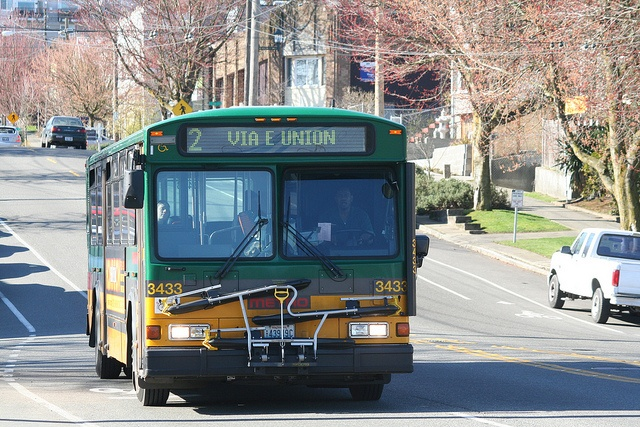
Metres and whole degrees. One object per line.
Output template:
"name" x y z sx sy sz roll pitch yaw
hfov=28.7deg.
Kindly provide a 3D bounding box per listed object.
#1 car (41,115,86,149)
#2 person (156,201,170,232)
"car" -15.988 -5.059 77.977 2.419 1.944 2.135 -1 11 -9
"person" -4.111 -0.011 32.482 0.313 0.701 0.157 -1 11 -4
